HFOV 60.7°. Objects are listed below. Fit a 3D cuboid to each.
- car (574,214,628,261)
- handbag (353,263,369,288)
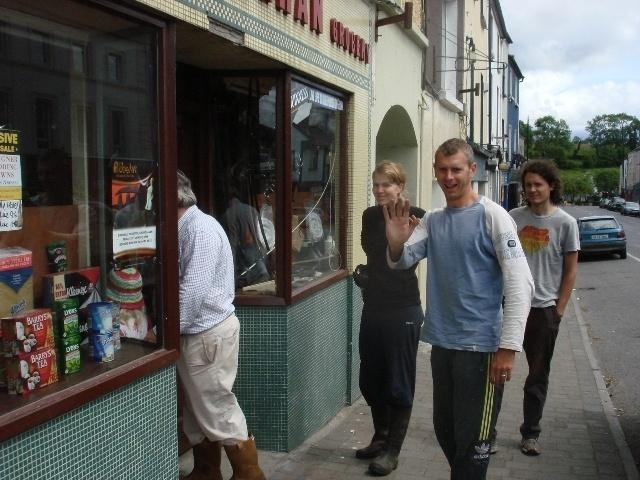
[{"bbox_3d":[10.151,-0.014,19.739,1.290,1.101,3.048,-4,11,21],"label":"car"},{"bbox_3d":[0.357,0.306,4.777,0.097,0.186,0.136,-2,17,0],"label":"handbag"}]
